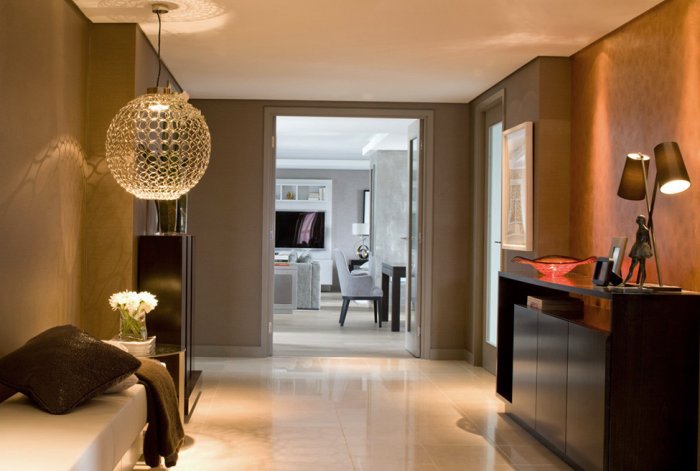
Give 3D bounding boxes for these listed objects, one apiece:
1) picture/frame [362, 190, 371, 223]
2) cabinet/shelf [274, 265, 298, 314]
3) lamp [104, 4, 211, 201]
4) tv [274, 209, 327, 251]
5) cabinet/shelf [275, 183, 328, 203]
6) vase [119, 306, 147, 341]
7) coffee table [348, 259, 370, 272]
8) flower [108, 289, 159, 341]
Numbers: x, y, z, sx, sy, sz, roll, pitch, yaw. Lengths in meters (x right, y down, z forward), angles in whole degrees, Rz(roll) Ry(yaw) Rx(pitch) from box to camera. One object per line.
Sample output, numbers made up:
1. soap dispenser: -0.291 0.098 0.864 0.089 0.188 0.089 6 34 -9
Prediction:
1. picture/frame: 0.416 -0.733 12.787 0.128 0.817 0.299 1 2 -10
2. cabinet/shelf: -1.157 0.935 9.266 0.386 0.837 0.244 1 2 -4
3. lamp: -1.450 -0.675 3.860 0.717 0.798 0.570 2 2 25
4. tv: -1.220 -0.139 12.800 1.228 0.930 0.151 1 2 3
5. cabinet/shelf: -1.205 -1.067 12.838 1.222 0.449 0.287 1 2 -7
6. vase: -1.610 0.671 3.811 0.217 0.250 0.230 -9 -17 14
7. coffee table: 0.185 0.645 11.399 0.273 0.300 0.287 1 6 1
8. flower: -1.560 0.548 3.773 0.349 0.349 0.358 1 -1 1
